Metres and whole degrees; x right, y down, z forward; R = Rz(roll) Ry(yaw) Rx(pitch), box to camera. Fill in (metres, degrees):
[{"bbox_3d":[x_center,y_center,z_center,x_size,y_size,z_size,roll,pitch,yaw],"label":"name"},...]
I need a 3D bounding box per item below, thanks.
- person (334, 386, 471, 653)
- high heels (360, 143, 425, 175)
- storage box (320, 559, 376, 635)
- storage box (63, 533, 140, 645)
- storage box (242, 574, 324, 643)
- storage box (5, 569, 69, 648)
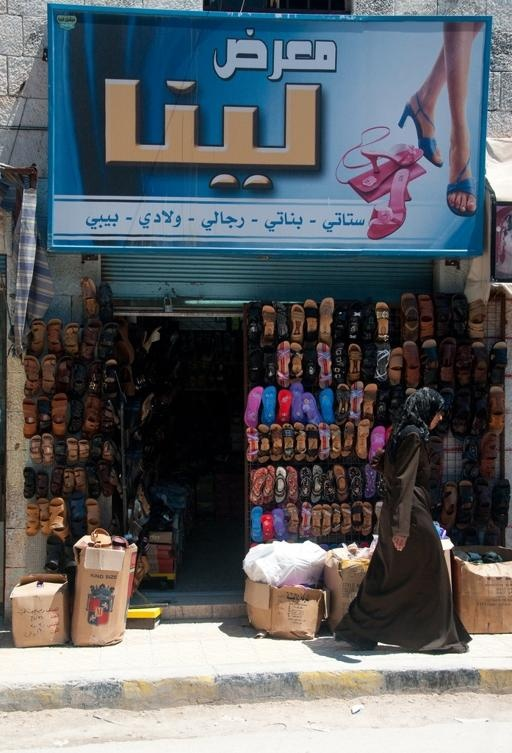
[{"bbox_3d":[0.993,0.971,6.549,0.856,1.766,0.476,0,3,13],"label":"person"},{"bbox_3d":[1.115,-1.728,7.784,0.417,0.215,0.181,-10,-14,2],"label":"high heels"},{"bbox_3d":[0.634,1.483,7.126,0.396,0.724,0.561,1,1,-7],"label":"storage box"},{"bbox_3d":[-1.083,1.563,7.362,0.591,1.065,0.655,3,-5,-5],"label":"storage box"},{"bbox_3d":[0.178,1.666,6.982,0.457,0.271,0.359,0,-8,15],"label":"storage box"},{"bbox_3d":[-1.492,1.649,6.960,0.409,0.564,0.449,1,-5,-10],"label":"storage box"}]
